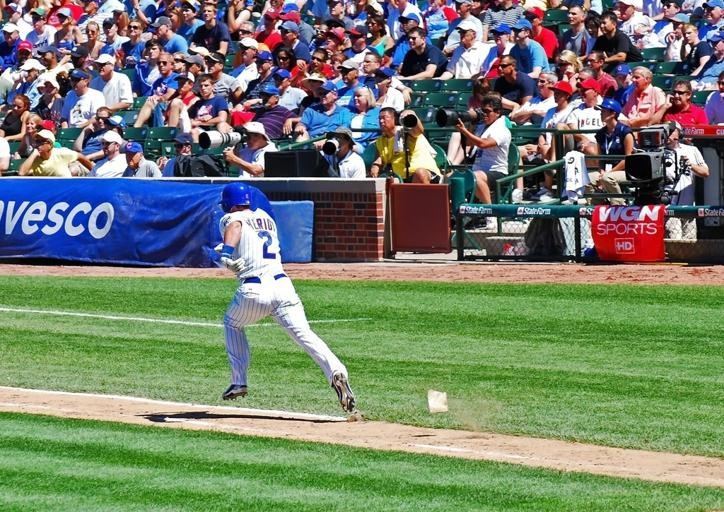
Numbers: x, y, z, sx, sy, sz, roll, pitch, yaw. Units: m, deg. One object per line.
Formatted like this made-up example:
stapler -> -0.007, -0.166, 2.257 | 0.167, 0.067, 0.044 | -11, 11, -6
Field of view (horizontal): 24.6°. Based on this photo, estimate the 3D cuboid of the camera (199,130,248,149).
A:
camera -> -2.062, -1.734, 24.826 | 0.264, 0.249, 0.686 | 1, 2, 40

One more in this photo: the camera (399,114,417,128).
camera -> 0.680, -1.977, 24.249 | 0.192, 0.187, 0.212 | 5, 15, -10

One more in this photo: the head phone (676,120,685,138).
head phone -> 4.410, -1.758, 23.045 | 0.122, 0.229, 0.521 | -1, -1, 11

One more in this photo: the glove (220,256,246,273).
glove -> -1.396, 0.090, 17.753 | 0.213, 0.104, 0.158 | 9, -4, 45

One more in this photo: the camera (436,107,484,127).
camera -> 1.407, -2.005, 24.208 | 0.370, 0.241, 0.858 | -1, -1, 40

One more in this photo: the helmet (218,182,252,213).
helmet -> -1.318, -0.634, 18.050 | 0.344, 0.312, 0.257 | 20, 18, 42
